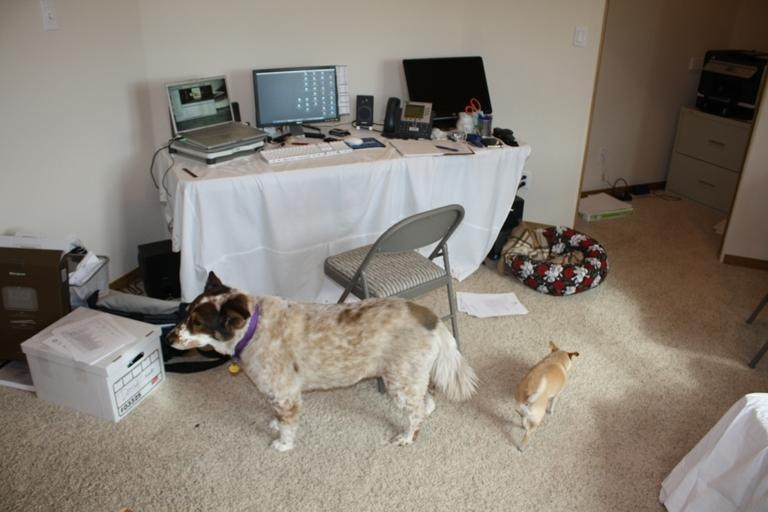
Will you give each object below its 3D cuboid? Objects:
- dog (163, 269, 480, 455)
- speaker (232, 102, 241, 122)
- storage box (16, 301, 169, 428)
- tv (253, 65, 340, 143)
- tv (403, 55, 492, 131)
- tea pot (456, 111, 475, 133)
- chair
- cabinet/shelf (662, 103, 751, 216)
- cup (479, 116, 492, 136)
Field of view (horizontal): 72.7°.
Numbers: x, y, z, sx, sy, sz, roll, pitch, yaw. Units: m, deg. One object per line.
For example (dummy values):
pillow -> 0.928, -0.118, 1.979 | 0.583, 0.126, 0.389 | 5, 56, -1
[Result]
dog -> -0.388, 0.660, 3.011 | 2.007, 1.074, 0.541 | 1, 31, -6
speaker -> -1.154, -1.127, 4.066 | 0.035, 0.134, 0.124 | 1, 10, 25
storage box -> -1.761, 0.657, 3.217 | 0.619, 0.378, 0.493 | 10, 24, 10
tv -> -0.707, -1.198, 4.075 | 0.636, 0.461, 0.188 | -12, 36, -19
tv -> 0.505, -1.357, 4.371 | 0.662, 0.480, 0.179 | -8, 30, -11
tea pot -> 0.646, -1.089, 4.325 | 0.165, 0.192, 0.176 | -1, 29, 0
chair -> 0.047, 0.158, 3.440 | 0.810, 1.179, 0.900 | -11, 26, -20
cabinet/shelf -> 3.182, -0.962, 5.104 | 0.600, 0.829, 0.815 | -24, 42, -38
cup -> 0.813, -1.052, 4.211 | 0.117, 0.169, 0.109 | -3, 33, 2
